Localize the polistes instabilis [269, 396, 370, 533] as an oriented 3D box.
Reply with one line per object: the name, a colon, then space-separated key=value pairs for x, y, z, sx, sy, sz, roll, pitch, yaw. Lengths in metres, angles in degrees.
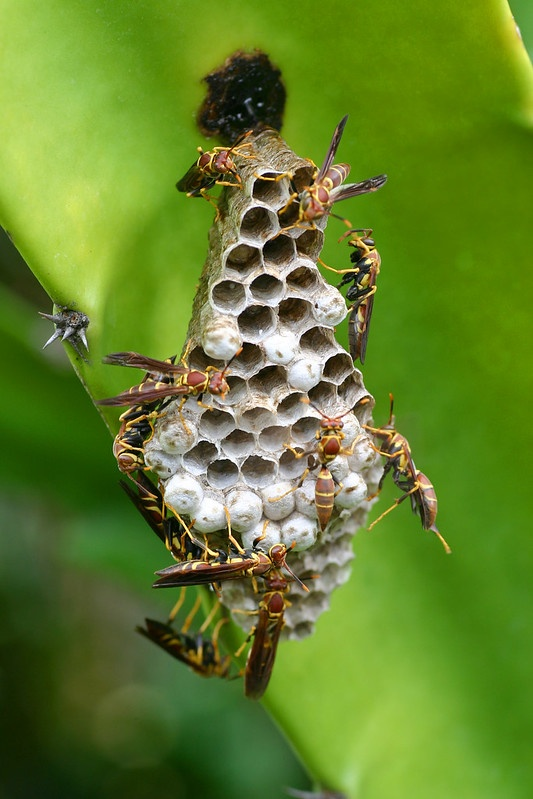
polistes instabilis: x=0.127 y=0.153 z=2.070 sx=0.260 sy=0.300 sz=0.100 roll=4 pitch=-5 yaw=8

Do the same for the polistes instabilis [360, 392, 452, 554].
polistes instabilis: x=0.441 y=0.224 z=2.332 sx=0.149 sy=0.405 sz=0.295 roll=-37 pitch=36 yaw=-15

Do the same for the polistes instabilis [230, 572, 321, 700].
polistes instabilis: x=-0.018 y=0.609 z=2.314 sx=0.199 sy=0.354 sz=0.165 roll=16 pitch=9 yaw=-21

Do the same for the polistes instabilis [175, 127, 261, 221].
polistes instabilis: x=-0.124 y=-0.553 z=2.112 sx=0.162 sy=0.070 sz=0.217 roll=-34 pitch=8 yaw=-31

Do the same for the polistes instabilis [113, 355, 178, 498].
polistes instabilis: x=-0.342 y=0.075 z=2.118 sx=0.105 sy=0.304 sz=0.225 roll=7 pitch=23 yaw=-15

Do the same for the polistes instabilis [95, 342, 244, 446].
polistes instabilis: x=-0.239 y=-0.033 z=2.037 sx=0.314 sy=0.113 sz=0.215 roll=-1 pitch=-26 yaw=32

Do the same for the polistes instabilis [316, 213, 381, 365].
polistes instabilis: x=0.258 y=-0.286 z=2.299 sx=0.254 sy=0.298 sz=0.111 roll=4 pitch=10 yaw=37

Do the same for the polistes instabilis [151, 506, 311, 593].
polistes instabilis: x=-0.095 y=0.393 z=2.088 sx=0.268 sy=0.164 sz=0.084 roll=-6 pitch=-28 yaw=5
